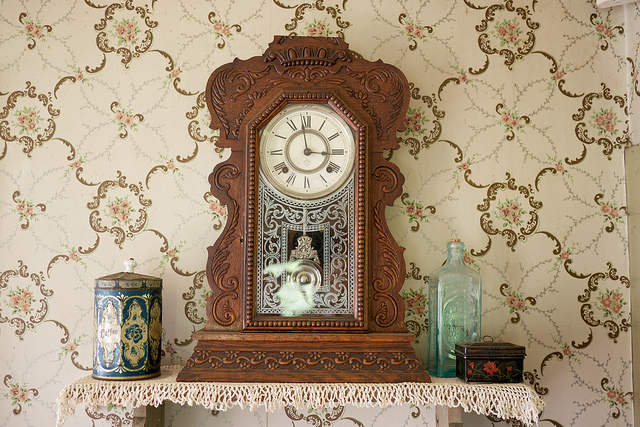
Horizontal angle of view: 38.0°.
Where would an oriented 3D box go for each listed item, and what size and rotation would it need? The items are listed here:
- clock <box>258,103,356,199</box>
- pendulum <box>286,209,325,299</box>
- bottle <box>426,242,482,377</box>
[{"bbox_3d":[-0.053,-0.269,3.806,0.392,0.393,0.238,1,-8,-4],"label":"clock"},{"bbox_3d":[-0.060,0.178,3.927,0.097,0.307,0.088,-1,-6,5],"label":"pendulum"},{"bbox_3d":[0.562,0.416,3.895,0.195,0.590,0.203,2,-4,0],"label":"bottle"}]
